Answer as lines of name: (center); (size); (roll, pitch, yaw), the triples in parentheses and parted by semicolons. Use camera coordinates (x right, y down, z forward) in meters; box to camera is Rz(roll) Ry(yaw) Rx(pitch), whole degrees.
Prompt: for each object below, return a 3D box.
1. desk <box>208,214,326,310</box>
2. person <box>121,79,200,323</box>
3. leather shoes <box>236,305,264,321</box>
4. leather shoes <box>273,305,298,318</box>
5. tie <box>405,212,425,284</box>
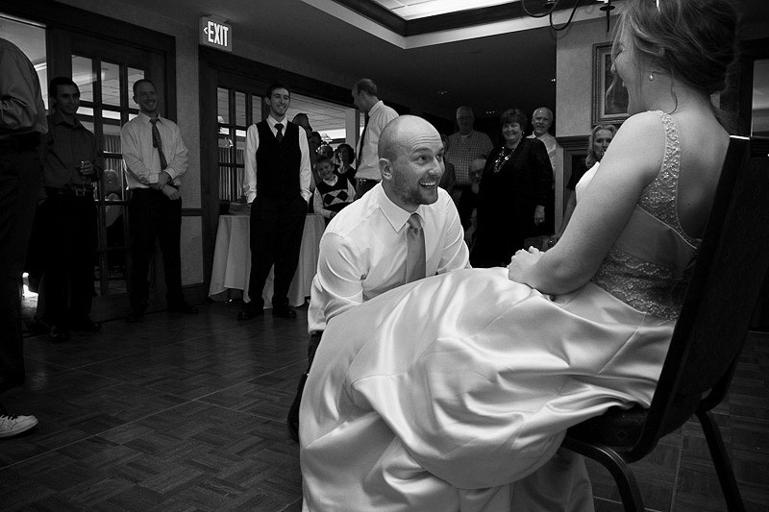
desk: (-1.214, 0.067, 5.988); (1.066, 0.918, 1.054); (-2, 12, -36)
person: (-2.186, -0.624, 5.460); (0.700, 2.425, 0.640); (-6, 11, -34)
leather shoes: (-1.285, 0.568, 5.392); (0.096, 0.119, 0.281); (-2, -10, 20)
leather shoes: (-0.978, 0.557, 5.476); (0.268, 0.137, 0.107); (-2, 0, 25)
tie: (0.125, -0.039, 2.382); (0.085, 0.398, 0.036); (-13, 41, -8)
